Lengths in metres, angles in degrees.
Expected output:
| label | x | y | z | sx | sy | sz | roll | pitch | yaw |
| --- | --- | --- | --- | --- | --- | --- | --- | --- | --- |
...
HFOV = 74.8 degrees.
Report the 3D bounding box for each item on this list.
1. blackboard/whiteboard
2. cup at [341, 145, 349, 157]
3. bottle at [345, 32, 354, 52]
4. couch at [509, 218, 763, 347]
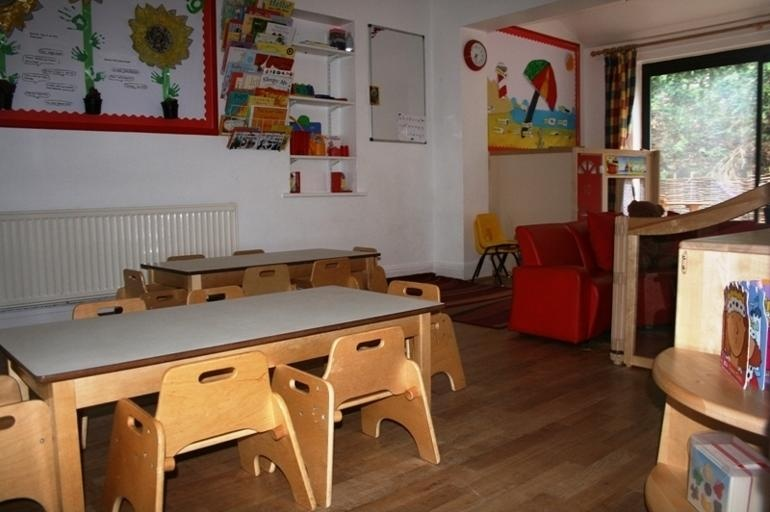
| label | x | y | z | sx | sy | sz | roll | pitch | yaw |
| --- | --- | --- | --- | --- | --- | --- | --- | --- | --- |
| blackboard/whiteboard | 0.176 | -2.406 | 7.100 | 1.093 | 1.546 | 0.228 | -10 | 16 | -35 |
| cup | -0.538 | -1.415 | 6.736 | 0.137 | 0.156 | 0.135 | -1 | 5 | 0 |
| bottle | -0.461 | -2.839 | 6.637 | 0.159 | 0.227 | 0.053 | -1 | -3 | -7 |
| couch | 2.475 | 0.124 | 5.116 | 2.738 | 0.983 | 0.794 | -8 | 8 | -34 |
